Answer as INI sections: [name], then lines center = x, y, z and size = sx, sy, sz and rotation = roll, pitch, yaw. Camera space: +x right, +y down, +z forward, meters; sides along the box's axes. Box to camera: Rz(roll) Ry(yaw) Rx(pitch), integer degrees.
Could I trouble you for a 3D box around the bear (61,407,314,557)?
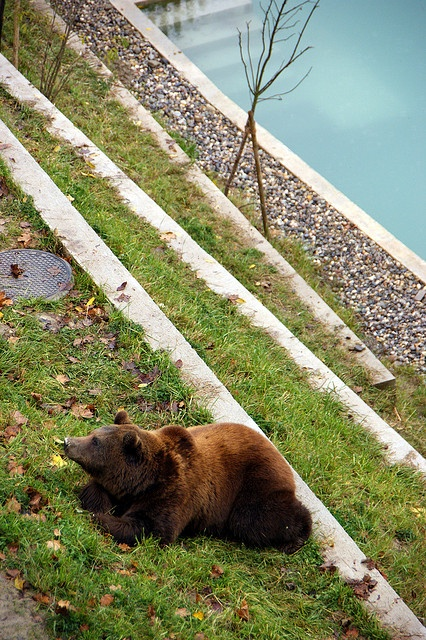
[bear]
center = -0.139, 1.072, 4.766
size = 1.646, 0.725, 0.820
rotation = 9, 6, -18
